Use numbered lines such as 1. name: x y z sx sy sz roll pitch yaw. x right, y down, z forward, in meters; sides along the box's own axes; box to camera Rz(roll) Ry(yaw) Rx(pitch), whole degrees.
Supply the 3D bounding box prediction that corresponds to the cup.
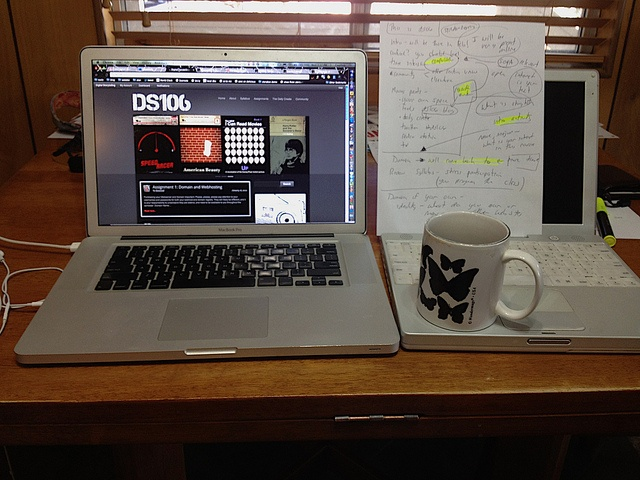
1. cup: 0.266 0.065 0.838 0.198 0.150 0.130 18 31 34
